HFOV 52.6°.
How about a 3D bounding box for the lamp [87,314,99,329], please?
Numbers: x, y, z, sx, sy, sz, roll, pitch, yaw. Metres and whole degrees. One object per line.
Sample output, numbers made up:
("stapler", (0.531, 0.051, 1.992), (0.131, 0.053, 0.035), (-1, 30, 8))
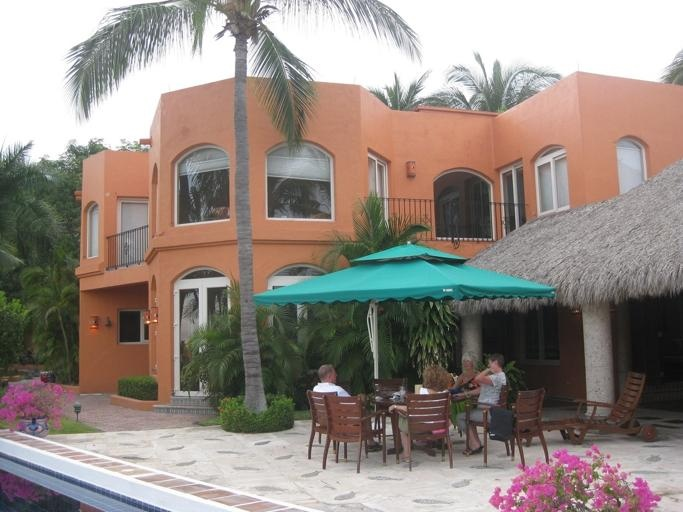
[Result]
("lamp", (-8.675, 2.358, 24.271), (0.381, 0.573, 0.376), (1, -6, -12))

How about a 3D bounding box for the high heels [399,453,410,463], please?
("high heels", (1.100, 3.539, 12.060), (0.106, 0.215, 0.295), (4, -15, -22))

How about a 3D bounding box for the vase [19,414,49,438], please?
("vase", (-6.338, 3.512, 14.272), (0.429, 0.353, 0.445), (3, -11, -14))

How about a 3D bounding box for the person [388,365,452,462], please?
("person", (1.375, 2.737, 11.933), (1.078, 1.619, 1.057), (-3, -7, 5))

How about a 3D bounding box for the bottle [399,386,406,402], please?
("bottle", (1.092, 2.491, 12.314), (0.113, 0.140, 0.123), (0, 0, 3))

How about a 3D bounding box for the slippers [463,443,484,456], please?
("slippers", (2.386, 3.523, 12.482), (0.383, 0.161, 0.147), (14, -18, -37))

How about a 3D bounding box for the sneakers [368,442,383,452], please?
("sneakers", (0.638, 3.588, 12.966), (0.107, 0.141, 0.318), (0, -2, 15))

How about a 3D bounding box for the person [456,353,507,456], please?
("person", (2.553, 2.685, 12.502), (0.894, 1.758, 0.933), (-9, -9, 44))

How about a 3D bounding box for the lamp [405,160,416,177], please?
("lamp", (2.051, -2.570, 20.283), (0.358, 0.560, 0.401), (-1, -9, 9))
